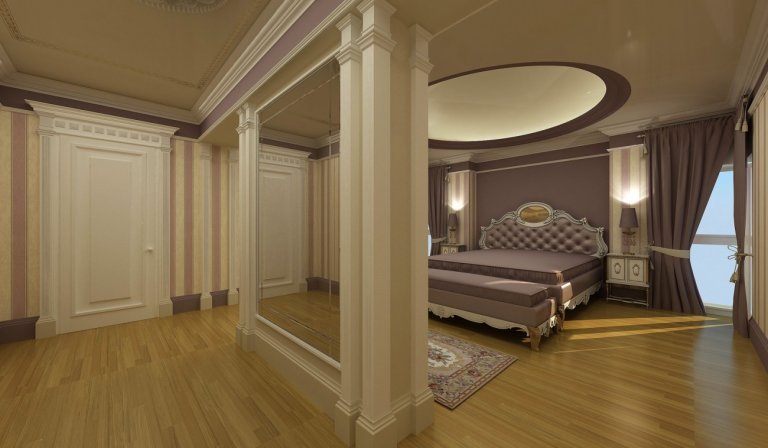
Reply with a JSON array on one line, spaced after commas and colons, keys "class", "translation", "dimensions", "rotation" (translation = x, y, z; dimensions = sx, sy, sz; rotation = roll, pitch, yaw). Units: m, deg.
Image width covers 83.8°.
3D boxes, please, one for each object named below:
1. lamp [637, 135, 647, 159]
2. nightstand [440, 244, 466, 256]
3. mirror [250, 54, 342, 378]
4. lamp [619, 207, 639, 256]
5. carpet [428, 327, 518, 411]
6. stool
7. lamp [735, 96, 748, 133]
[{"class": "lamp", "translation": [4.691, -1.396, 7.714], "dimensions": [0.047, 0.411, 0.143], "rotation": [-1, 3, -24]}, {"class": "nightstand", "translation": [1.605, 0.574, 10.049], "dimensions": [0.275, 0.412, 0.462], "rotation": [-1, 2, -39]}, {"class": "mirror", "translation": [-1.170, 0.183, 5.763], "dimensions": [0.385, 3.023, 1.695], "rotation": [-3, 4, -42]}, {"class": "lamp", "translation": [4.467, 0.117, 7.794], "dimensions": [0.302, 0.865, 0.382], "rotation": [2, 3, 29]}, {"class": "carpet", "translation": [1.138, 2.009, 5.896], "dimensions": [1.257, 0.569, 1.290], "rotation": [1, 3, 22]}, {"class": "stool", "translation": [1.650, 1.199, 6.456], "dimensions": [1.371, 0.536, 1.382], "rotation": [-1, -4, 36]}, {"class": "lamp", "translation": [5.412, -1.648, 6.466], "dimensions": [0.151, 0.519, 0.403], "rotation": [2, 4, 40]}]
